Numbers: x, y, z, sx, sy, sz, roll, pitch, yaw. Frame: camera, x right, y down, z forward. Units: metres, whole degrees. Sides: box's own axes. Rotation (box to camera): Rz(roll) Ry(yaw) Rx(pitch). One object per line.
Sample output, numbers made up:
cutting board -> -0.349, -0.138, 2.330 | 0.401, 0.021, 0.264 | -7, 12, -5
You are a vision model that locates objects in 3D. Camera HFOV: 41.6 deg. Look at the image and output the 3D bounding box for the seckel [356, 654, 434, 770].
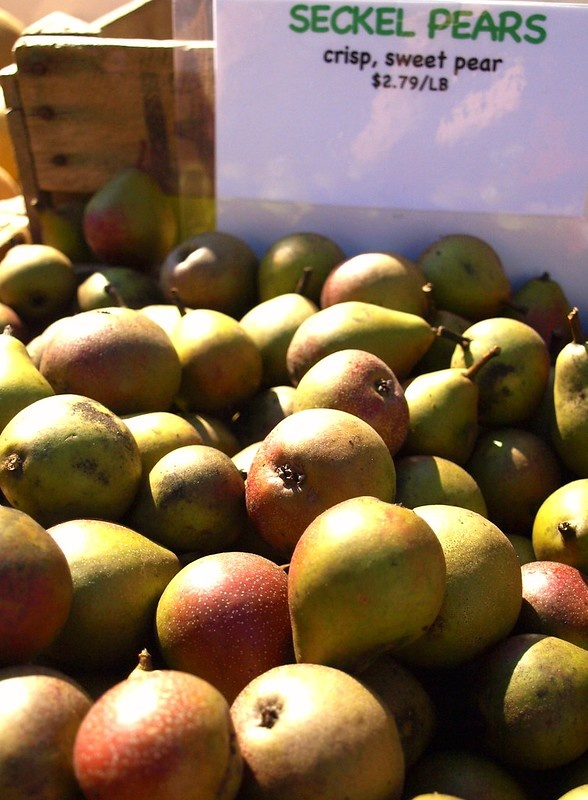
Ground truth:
seckel -> 0.170, 0.494, 1.274 | 0.142, 0.103, 0.176 | -1, 13, 11
